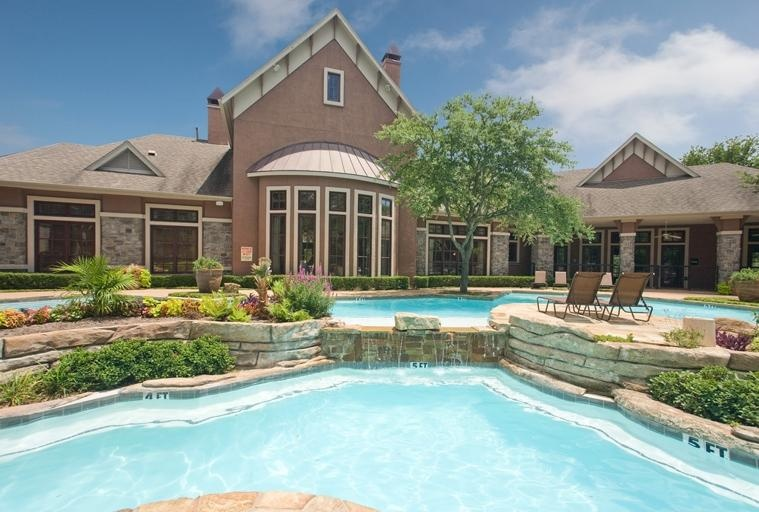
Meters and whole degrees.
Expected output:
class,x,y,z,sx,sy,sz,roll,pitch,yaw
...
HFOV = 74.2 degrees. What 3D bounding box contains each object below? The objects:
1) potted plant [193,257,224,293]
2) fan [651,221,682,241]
class,x,y,z,sx,sy,sz,roll,pitch,yaw
potted plant,-9.268,1.034,26.419,1.787,1.821,1.834,1,-4,-14
fan,19.912,-1.631,34.756,1.840,1.528,1.805,-1,-4,-5
